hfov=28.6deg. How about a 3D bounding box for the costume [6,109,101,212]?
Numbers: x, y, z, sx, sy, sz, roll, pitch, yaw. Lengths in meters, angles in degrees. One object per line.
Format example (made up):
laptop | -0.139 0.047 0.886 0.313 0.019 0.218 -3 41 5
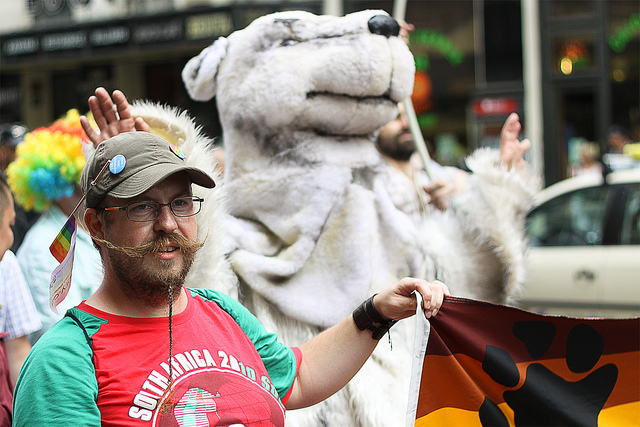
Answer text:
costume | -2.533 -0.494 11.559 0.767 1.129 0.790 7 18 35

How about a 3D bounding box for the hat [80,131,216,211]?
hat | -1.338 -0.356 9.883 0.845 0.630 1.181 -12 -6 -27

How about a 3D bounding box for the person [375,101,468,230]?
person | 0.770 -0.304 10.693 0.811 1.090 0.471 -20 -7 -44

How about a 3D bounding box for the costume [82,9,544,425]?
costume | 0.463 -0.040 10.920 2.697 4.051 3.114 -6 29 -14
